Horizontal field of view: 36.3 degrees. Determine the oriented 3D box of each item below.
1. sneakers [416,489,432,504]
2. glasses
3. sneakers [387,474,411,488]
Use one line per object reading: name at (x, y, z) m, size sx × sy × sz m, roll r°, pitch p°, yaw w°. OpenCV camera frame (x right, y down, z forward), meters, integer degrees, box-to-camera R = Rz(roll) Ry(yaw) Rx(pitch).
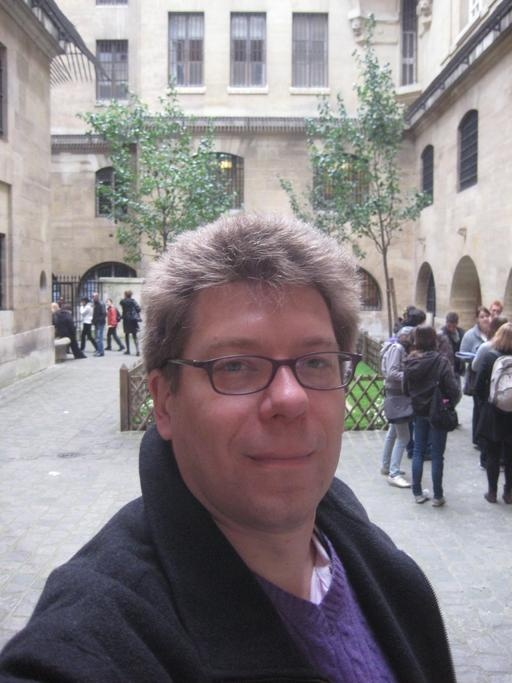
sneakers at (1.543, 1.424, 7.161) m, size 0.082 × 0.102 × 0.235 m, roll -3°, pitch -11°, yaw 15°
glasses at (0.049, 0.061, 1.541) m, size 0.423 × 0.080 × 0.165 m, roll -1°, pitch 4°, yaw -21°
sneakers at (1.426, 1.380, 7.761) m, size 0.098 × 0.105 × 0.231 m, roll 3°, pitch -1°, yaw -30°
